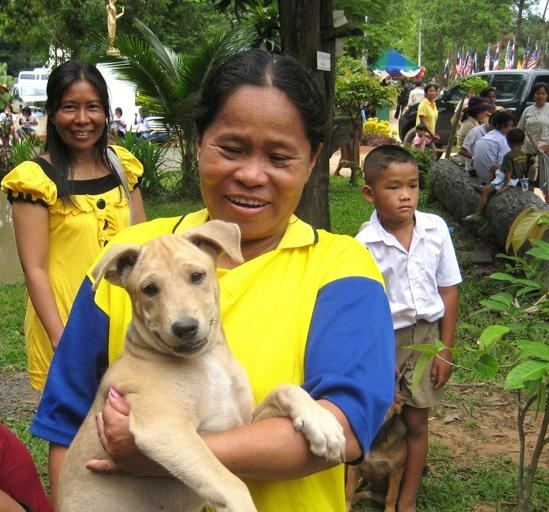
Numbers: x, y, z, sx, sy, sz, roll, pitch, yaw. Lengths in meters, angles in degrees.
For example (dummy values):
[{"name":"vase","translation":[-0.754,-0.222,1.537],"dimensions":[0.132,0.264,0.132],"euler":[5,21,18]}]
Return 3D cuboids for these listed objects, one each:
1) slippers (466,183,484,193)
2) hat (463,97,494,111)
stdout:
[{"name":"slippers","translation":[3.275,-1.106,10.114],"dimensions":[0.270,0.088,0.273],"euler":[16,26,38]},{"name":"hat","translation":[4.668,-3.382,14.026],"dimensions":[0.579,0.316,0.406],"euler":[-13,18,-30]}]
